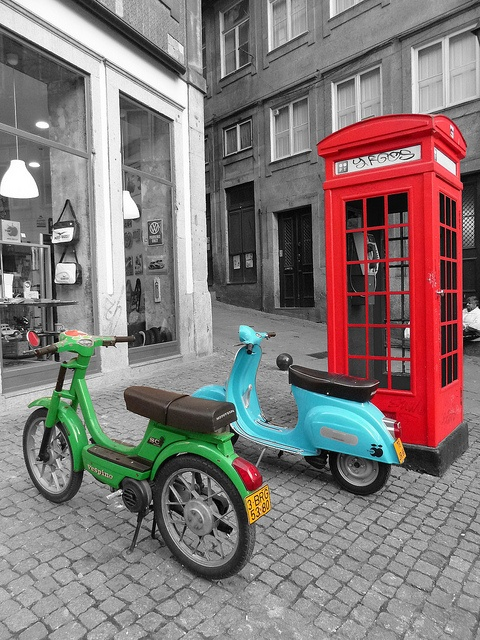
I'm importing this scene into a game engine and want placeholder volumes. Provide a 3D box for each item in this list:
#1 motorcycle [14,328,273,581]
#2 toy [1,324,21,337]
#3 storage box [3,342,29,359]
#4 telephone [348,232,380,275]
[{"bbox_3d":[-0.633,0.658,2.827,1.577,1.170,0.685,10,17,26],"label":"motorcycle"},{"bbox_3d":[-2.569,0.110,5.904,0.143,0.094,0.081,-9,15,-38],"label":"toy"},{"bbox_3d":[-2.476,0.372,5.868,0.134,0.215,0.269,-5,-6,17],"label":"storage box"},{"bbox_3d":[1.070,-0.561,4.453,0.176,0.355,0.559,2,5,22],"label":"telephone"}]
